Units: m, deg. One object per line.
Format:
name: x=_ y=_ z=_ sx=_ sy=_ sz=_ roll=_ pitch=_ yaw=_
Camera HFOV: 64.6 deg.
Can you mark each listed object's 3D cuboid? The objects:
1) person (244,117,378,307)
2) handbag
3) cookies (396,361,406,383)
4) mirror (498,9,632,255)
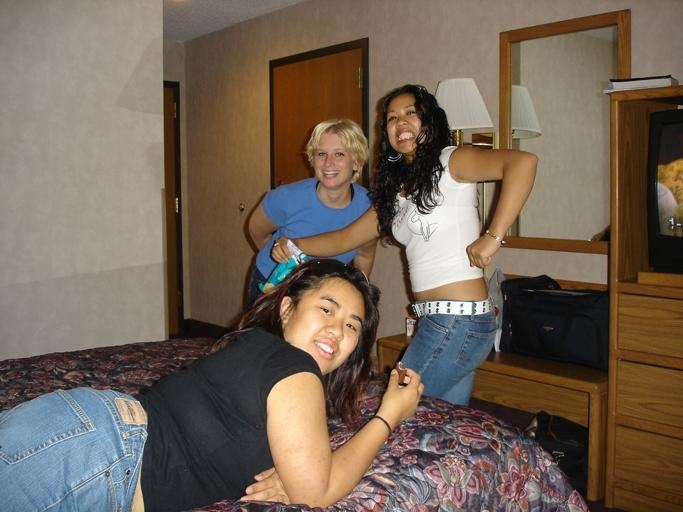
person: x=-0.139 y=0.008 z=2.955 sx=0.646 sy=1.486 sz=0.501 roll=5 pitch=17 yaw=-13
handbag: x=1.153 y=0.339 z=2.886 sx=0.592 sy=0.405 sz=0.317 roll=6 pitch=10 yaw=41
cookies: x=0.188 y=0.378 z=1.742 sx=0.018 sy=0.053 sz=0.039 roll=0 pitch=0 yaw=0
mirror: x=1.227 y=-0.690 z=3.094 sx=0.730 sy=1.339 sz=0.029 roll=4 pitch=4 yaw=38
